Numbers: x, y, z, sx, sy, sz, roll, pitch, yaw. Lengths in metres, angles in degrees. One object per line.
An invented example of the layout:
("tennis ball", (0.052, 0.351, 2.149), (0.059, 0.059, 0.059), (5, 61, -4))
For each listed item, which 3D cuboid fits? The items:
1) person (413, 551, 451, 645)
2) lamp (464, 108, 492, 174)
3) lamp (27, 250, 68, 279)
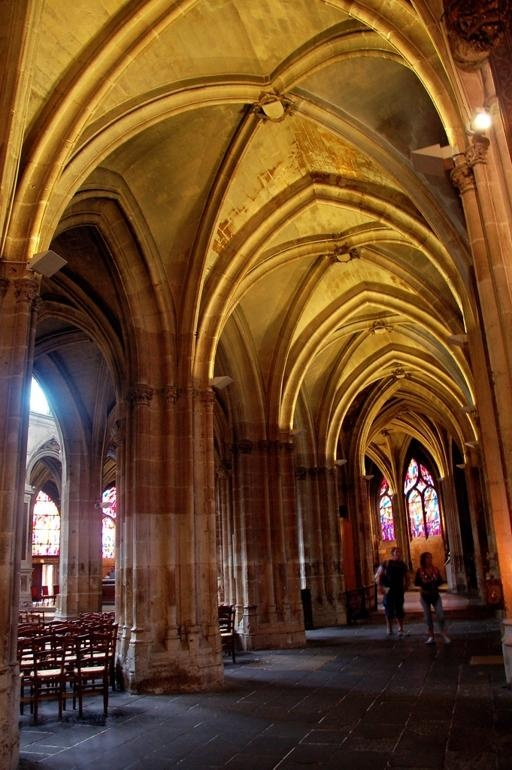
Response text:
("person", (2.869, 3.500, 9.216), (0.486, 1.470, 0.477), (-5, -2, 6))
("lamp", (1.846, -2.043, 4.650), (0.234, 0.393, 0.335), (-11, -19, 12))
("lamp", (-2.039, -1.209, 5.551), (0.462, 0.158, 0.301), (-21, -23, 36))
